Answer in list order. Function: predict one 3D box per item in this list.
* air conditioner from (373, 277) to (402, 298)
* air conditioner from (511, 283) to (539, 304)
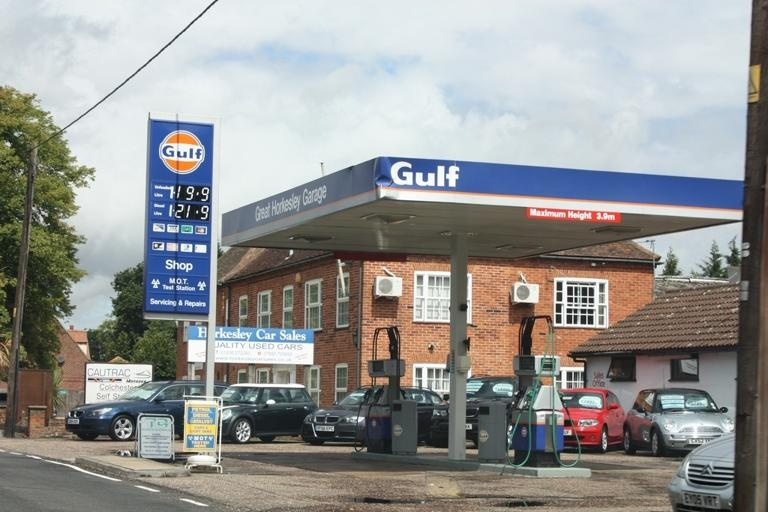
[{"bbox_3d":[0.140,1.281,52.026,1.276,0.912,0.734,3,-9,-22],"label":"air conditioner"},{"bbox_3d":[5.687,1.523,53.838,1.310,0.948,0.753,2,-1,-6],"label":"air conditioner"}]
